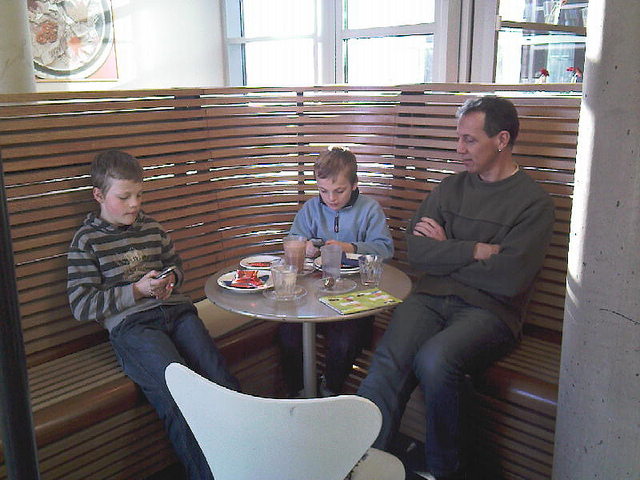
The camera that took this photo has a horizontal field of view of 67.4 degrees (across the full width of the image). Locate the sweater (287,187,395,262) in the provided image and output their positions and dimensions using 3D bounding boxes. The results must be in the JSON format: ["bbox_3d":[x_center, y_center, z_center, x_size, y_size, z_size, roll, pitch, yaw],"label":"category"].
[{"bbox_3d":[0.087,-0.047,2.544,0.557,0.424,0.293,7,25,16],"label":"sweater"}]

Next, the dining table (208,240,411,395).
[{"bbox_3d":[-0.037,0.171,1.965,0.764,0.561,0.731,-3,18,-7],"label":"dining table"}]

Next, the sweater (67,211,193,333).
[{"bbox_3d":[-0.847,0.145,2.161,0.374,0.517,0.566,2,12,36],"label":"sweater"}]

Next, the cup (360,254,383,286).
[{"bbox_3d":[0.208,0.126,1.985,0.114,0.124,0.114,1,-3,0],"label":"cup"}]

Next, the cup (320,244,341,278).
[{"bbox_3d":[0.044,0.093,1.979,0.080,0.141,0.077,-2,14,0],"label":"cup"}]

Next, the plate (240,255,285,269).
[{"bbox_3d":[-0.277,0.103,2.209,0.166,0.033,0.176,4,14,21],"label":"plate"}]

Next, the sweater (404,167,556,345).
[{"bbox_3d":[0.720,0.044,2.248,0.641,0.725,0.386,5,15,26],"label":"sweater"}]

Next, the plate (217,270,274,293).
[{"bbox_3d":[-0.315,0.171,2.018,0.234,0.045,0.250,-2,13,-1],"label":"plate"}]

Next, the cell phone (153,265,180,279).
[{"bbox_3d":[-0.678,0.142,2.102,0.138,0.014,0.076,-36,-11,33],"label":"cell phone"}]
